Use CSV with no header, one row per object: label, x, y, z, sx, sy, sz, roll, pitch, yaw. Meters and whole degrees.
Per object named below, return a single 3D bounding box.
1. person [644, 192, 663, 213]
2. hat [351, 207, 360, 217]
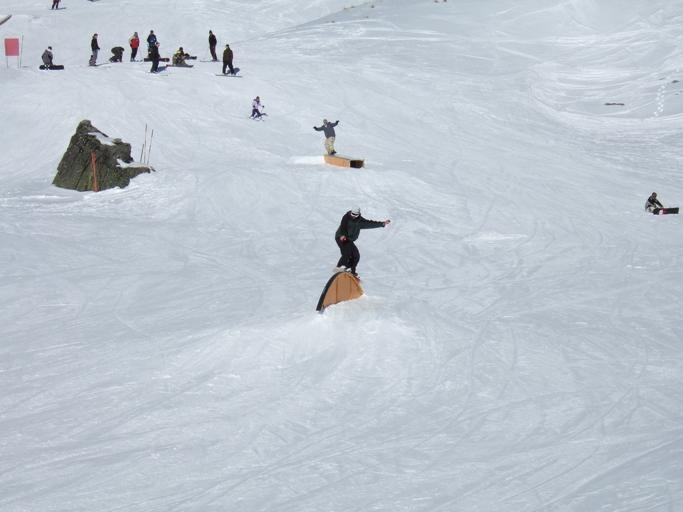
person,9.376,-1.540,27.264,0.651,0.599,0.303,-5,-18,21
hat,0.340,-1.038,21.159,0.217,0.113,0.237,13,24,24
